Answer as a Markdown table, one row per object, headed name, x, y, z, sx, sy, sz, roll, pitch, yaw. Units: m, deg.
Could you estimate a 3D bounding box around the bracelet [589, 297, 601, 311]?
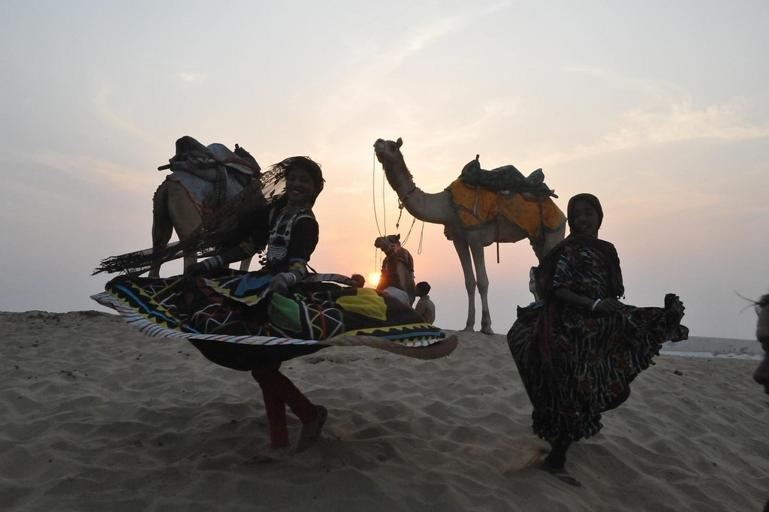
| name | x | y | z | sx | sy | sz | roll | pitch | yaw |
| --- | --- | --- | --- | --- | --- | --- | --- | --- | --- |
| bracelet | 1.910 | 0.433 | 6.176 | 0.095 | 0.023 | 0.097 | -40 | -7 | 26 |
